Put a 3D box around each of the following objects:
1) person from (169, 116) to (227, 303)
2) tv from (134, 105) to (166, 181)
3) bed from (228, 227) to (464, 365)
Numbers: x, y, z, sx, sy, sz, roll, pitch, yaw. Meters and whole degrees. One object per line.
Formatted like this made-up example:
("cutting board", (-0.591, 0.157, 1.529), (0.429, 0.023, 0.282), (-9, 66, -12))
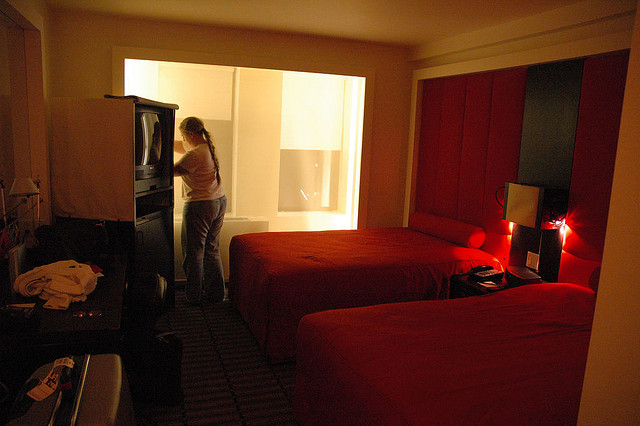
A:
("person", (-1.254, -0.026, 4.956), (0.513, 1.912, 0.486), (0, 12, -13))
("tv", (-1.538, -0.647, 4.238), (0.343, 0.589, 0.630), (2, 10, -5))
("bed", (0.018, 0.491, 4.620), (1.404, 0.520, 1.376), (-3, 6, -20))
